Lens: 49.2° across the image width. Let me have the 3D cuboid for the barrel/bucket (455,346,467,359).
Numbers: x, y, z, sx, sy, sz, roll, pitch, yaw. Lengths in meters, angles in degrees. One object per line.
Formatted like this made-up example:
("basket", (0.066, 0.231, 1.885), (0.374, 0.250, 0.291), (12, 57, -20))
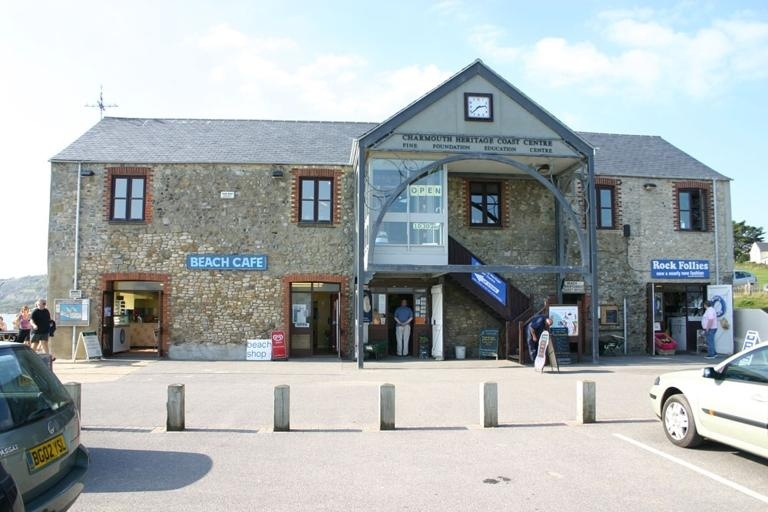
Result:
("barrel/bucket", (2.727, 3.427, 29.804), (0.388, 0.544, 0.395), (-1, -3, 0))

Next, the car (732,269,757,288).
("car", (25.326, 1.606, 59.016), (2.566, 1.165, 1.536), (3, -6, -7))

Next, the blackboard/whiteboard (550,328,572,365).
("blackboard/whiteboard", (5.890, 2.967, 27.681), (0.891, 1.196, 0.459), (1, -3, -27))

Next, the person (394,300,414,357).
("person", (0.719, 2.576, 30.298), (0.653, 2.035, 0.494), (0, -3, 0))

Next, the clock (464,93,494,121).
("clock", (3.115, -4.946, 27.856), (0.959, 0.885, 0.079), (1, -10, -5))

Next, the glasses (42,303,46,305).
("glasses", (-10.678, 1.502, 26.364), (0.051, 0.061, 0.068), (6, -14, 1))
